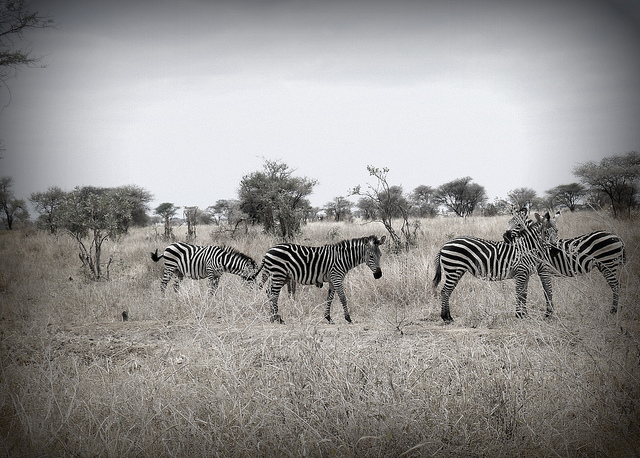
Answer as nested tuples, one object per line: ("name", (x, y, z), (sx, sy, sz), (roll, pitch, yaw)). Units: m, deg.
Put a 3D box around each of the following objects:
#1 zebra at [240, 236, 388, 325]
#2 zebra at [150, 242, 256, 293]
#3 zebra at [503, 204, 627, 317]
("zebra", (-0.062, 0.698, 8.023), (1.819, 1.174, 1.442), (0, 0, -9))
("zebra", (-1.856, 0.629, 8.696), (1.531, 0.795, 0.433), (0, 0, 22))
("zebra", (3.286, 0.413, 7.097), (1.469, 1.406, 0.860), (0, 0, 9))
